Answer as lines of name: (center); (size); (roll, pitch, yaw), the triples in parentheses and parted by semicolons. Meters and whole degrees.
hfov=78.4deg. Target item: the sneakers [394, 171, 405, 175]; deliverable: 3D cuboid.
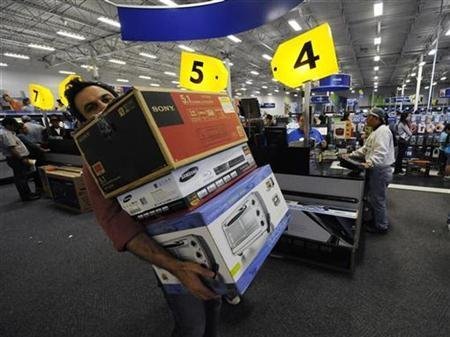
sneakers: (4.397, 0.110, 6.927); (0.098, 0.098, 0.272); (-4, 1, 9)

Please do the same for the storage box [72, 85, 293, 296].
storage box: (-0.269, 0.078, 2.981); (1.660, 2.090, 1.555); (-30, 4, -21)

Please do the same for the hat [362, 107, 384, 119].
hat: (2.287, -0.872, 4.264); (0.304, 0.141, 0.187); (14, 23, 32)

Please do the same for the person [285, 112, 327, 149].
person: (1.372, -0.616, 4.719); (0.803, 0.616, 0.422); (-5, 5, -1)

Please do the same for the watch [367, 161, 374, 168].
watch: (2.002, -0.067, 3.794); (0.073, 0.081, 0.095); (5, 3, 11)

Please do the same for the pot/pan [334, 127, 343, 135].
pot/pan: (2.308, -0.769, 5.554); (0.167, 0.102, 0.138); (-9, 17, -11)

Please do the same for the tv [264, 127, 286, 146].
tv: (0.661, -0.432, 3.579); (0.280, 0.249, 0.085); (7, 39, 27)

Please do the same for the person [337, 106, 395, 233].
person: (2.185, 0.024, 4.122); (0.572, 1.804, 1.052); (3, 20, 29)

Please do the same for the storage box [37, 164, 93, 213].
storage box: (-2.864, 0.382, 4.909); (0.977, 0.436, 0.294); (10, 25, 25)
